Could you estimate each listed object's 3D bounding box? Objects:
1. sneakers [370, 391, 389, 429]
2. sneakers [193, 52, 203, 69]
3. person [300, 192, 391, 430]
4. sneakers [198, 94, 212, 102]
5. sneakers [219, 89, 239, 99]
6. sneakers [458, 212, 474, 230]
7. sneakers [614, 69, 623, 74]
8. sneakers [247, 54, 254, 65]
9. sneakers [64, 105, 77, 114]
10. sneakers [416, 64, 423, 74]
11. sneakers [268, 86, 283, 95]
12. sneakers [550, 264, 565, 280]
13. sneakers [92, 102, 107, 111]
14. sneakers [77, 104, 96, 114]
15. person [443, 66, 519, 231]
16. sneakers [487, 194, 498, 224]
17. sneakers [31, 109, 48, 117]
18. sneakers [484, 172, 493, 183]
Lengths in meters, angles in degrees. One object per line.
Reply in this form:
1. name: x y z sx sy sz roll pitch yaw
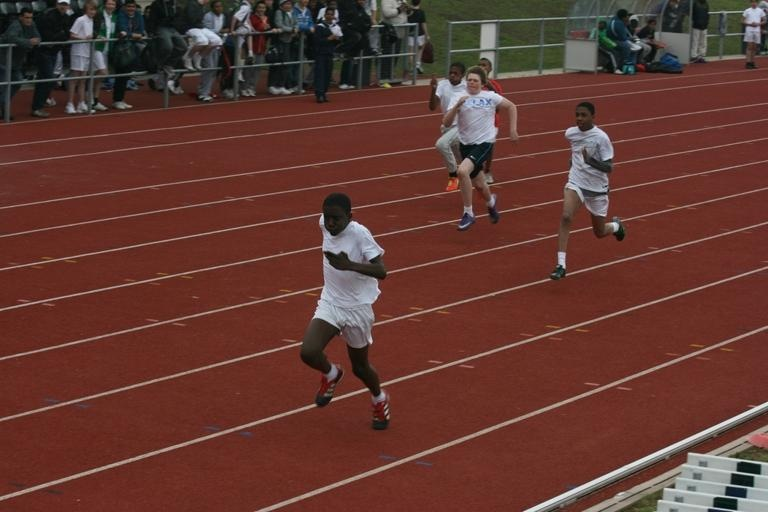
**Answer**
1. sneakers: -0.024 1.297 7.187 0.132 0.320 0.144 -2 -3 16
2. sneakers: -4.021 -4.231 18.612 0.136 0.256 0.384 -7 51 -42
3. person: -0.305 0.469 7.037 0.720 1.975 0.611 1 11 0
4. sneakers: -4.073 -3.557 19.406 0.341 0.130 0.122 -1 12 2
5. sneakers: -3.653 -3.755 19.845 0.239 0.123 0.307 6 20 5
6. sneakers: 1.135 -0.487 12.106 0.134 0.155 0.360 4 29 30
7. sneakers: 7.252 -5.676 26.429 0.294 0.115 0.112 12 33 33
8. sneakers: -3.090 -4.479 19.580 0.104 0.259 0.174 -1 58 -6
9. sneakers: -6.464 -3.024 17.574 0.221 0.199 0.298 -3 11 -20
10. sneakers: 0.993 -5.282 24.329 0.164 0.181 0.330 -7 1 12
11. sneakers: -2.644 -3.994 20.681 0.296 0.132 0.202 21 5 43
12. sneakers: 2.145 0.196 10.531 0.183 0.202 0.336 3 11 11
13. sneakers: -5.990 -3.151 18.006 0.336 0.128 0.116 -1 35 -6
14. sneakers: -6.220 -3.027 17.652 0.408 0.227 0.151 -1 9 -1
15. person: 1.349 -1.536 12.241 1.031 2.267 1.093 2 11 3
16. sneakers: 1.555 -0.698 12.276 0.156 0.185 0.441 -16 35 16
17. sneakers: -6.948 -2.852 17.197 0.290 0.104 0.144 0 12 7
18. sneakers: 1.787 -1.324 14.519 0.149 0.150 0.355 -5 14 4
